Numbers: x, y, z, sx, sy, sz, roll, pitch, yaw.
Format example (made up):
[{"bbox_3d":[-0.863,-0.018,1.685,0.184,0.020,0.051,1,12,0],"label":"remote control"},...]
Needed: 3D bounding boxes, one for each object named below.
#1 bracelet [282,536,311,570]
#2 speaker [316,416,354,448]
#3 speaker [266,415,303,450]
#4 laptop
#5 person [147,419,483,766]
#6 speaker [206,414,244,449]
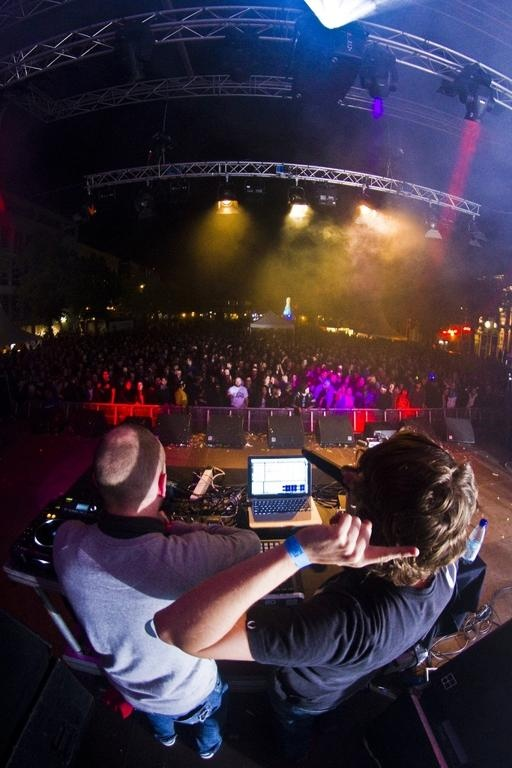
[{"bbox_3d":[0.149,0.646,2.124,0.108,0.141,0.070,2,5,-13],"label":"bracelet"},{"bbox_3d":[1.167,0.696,8.398,0.478,0.456,0.474,-3,-1,-7],"label":"speaker"},{"bbox_3d":[0.403,0.677,7.776,0.428,0.406,0.462,-1,36,-1],"label":"speaker"},{"bbox_3d":[0.199,0.884,4.461,0.639,0.493,0.559,0,13,-7],"label":"laptop"},{"bbox_3d":[0.351,1.203,2.777,1.455,2.303,0.678,-5,46,-28],"label":"person"},{"bbox_3d":[-0.495,0.724,8.424,0.472,0.521,0.485,0,-6,2],"label":"speaker"}]
